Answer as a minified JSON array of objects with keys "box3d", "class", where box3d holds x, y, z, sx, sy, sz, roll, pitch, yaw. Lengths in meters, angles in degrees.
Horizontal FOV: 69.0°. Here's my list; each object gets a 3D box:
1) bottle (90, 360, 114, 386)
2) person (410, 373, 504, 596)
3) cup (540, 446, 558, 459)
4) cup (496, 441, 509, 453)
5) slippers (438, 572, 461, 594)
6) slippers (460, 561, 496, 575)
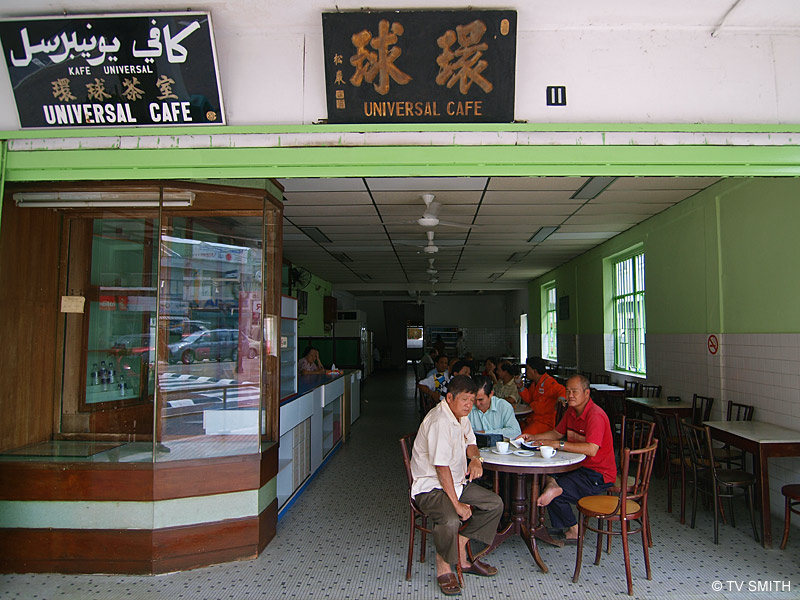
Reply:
[{"box3d":[-2.682,0.681,5.407,0.253,0.252,0.186,-1,-5,15],"class":"bottle"},{"box3d":[0.454,1.541,4.746,0.634,1.428,0.500,-1,0,-33],"class":"person"},{"box3d":[1.223,1.263,4.819,0.105,0.073,0.086,-2,-6,15],"class":"cup"},{"box3d":[0.878,1.258,4.974,0.082,0.067,0.100,0,-12,1],"class":"cup"},{"box3d":[0.392,2.184,4.485,0.169,0.146,0.121,0,0,-22],"class":"slippers"},{"box3d":[0.639,2.185,4.781,0.303,0.090,0.115,-1,-4,3],"class":"slippers"}]
